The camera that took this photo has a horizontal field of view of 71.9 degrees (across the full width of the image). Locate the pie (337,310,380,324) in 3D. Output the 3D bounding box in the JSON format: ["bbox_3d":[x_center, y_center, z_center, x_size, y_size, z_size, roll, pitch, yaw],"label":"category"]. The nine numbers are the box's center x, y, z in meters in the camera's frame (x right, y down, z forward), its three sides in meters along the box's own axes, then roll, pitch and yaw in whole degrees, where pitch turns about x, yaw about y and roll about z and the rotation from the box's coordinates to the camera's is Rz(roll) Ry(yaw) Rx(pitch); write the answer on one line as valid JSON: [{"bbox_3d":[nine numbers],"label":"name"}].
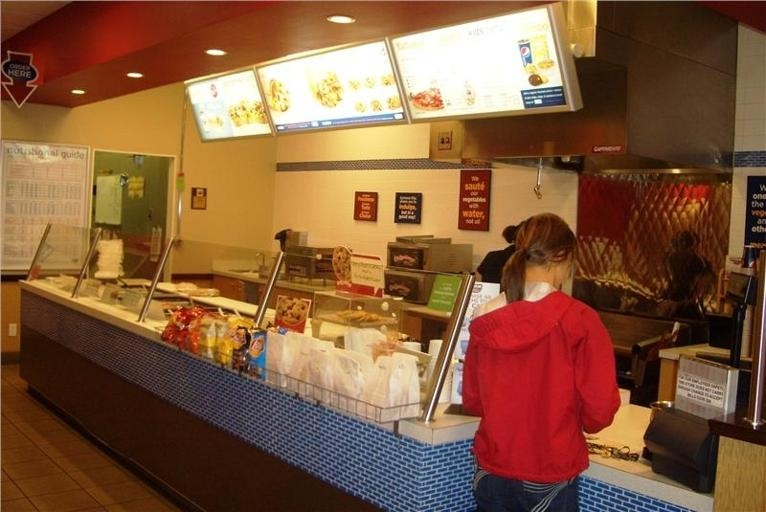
[{"bbox_3d":[-0.148,0.355,3.056,0.070,0.062,0.349,-5,3,-45],"label":"pie"}]

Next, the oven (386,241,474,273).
[{"bbox_3d":[0.528,0.019,5.671,0.527,0.225,0.494,-1,-3,45],"label":"oven"}]

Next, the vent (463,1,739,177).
[{"bbox_3d":[1.974,-1.202,4.524,1.670,1.044,1.588,2,-1,-34],"label":"vent"}]
